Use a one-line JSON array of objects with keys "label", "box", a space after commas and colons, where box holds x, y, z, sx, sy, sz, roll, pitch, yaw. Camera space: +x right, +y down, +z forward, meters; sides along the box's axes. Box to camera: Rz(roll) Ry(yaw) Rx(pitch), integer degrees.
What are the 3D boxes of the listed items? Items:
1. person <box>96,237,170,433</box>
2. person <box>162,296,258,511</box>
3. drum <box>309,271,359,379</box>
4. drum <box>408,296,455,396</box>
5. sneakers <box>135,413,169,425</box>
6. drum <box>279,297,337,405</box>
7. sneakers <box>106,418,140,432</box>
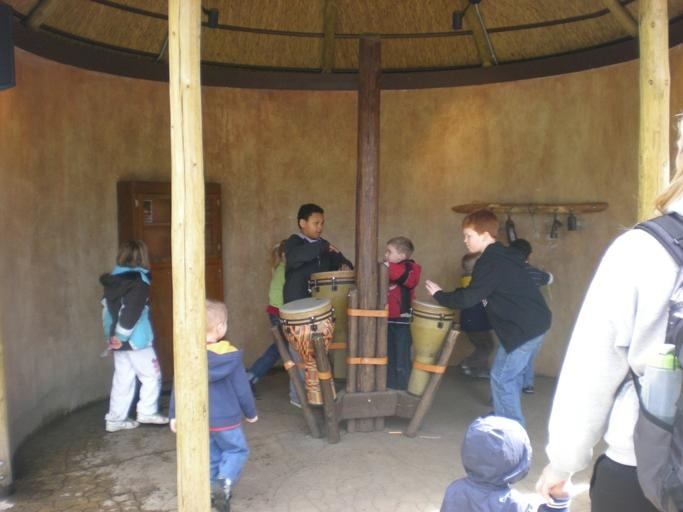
[{"label": "person", "box": [-1.928, 0.717, 7.521, 0.560, 1.694, 0.369, -4, 9, -17]}, {"label": "person", "box": [-0.895, 1.111, 6.157, 0.323, 1.591, 0.660, 6, 11, 41]}, {"label": "drum", "box": [-0.026, 0.680, 7.758, 0.562, 0.972, 0.574, 4, -9, 1]}, {"label": "drum", "box": [0.743, 0.834, 7.373, 0.446, 0.839, 0.466, 12, -1, 0]}, {"label": "sneakers", "box": [-1.746, 1.480, 7.574, 0.279, 0.131, 0.118, 0, -1, -13]}, {"label": "drum", "box": [-0.294, 0.867, 7.245, 0.455, 0.971, 0.465, -1, 9, 0]}, {"label": "sneakers", "box": [-2.000, 1.514, 7.506, 0.270, 0.122, 0.117, -3, 6, -25]}]
